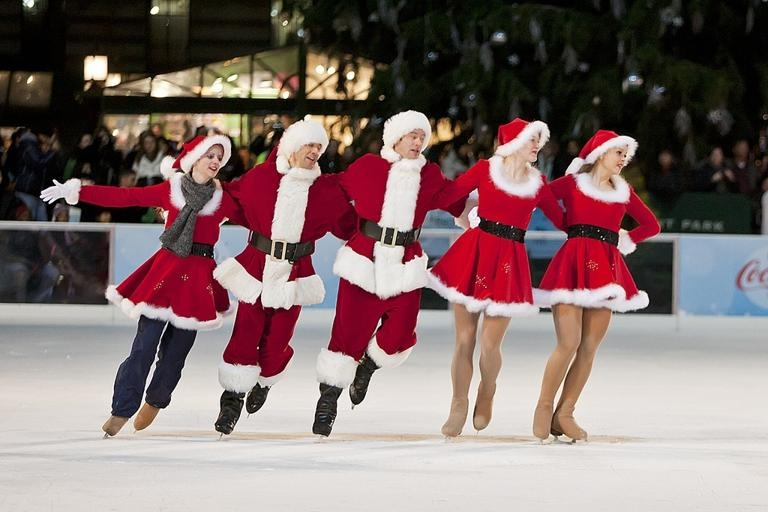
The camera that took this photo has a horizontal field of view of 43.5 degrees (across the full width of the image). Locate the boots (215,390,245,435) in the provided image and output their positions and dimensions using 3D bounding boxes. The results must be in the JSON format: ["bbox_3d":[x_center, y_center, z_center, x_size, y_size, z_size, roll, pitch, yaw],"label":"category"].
[{"bbox_3d":[-1.326,1.284,8.102,0.156,0.336,0.487,7,16,1],"label":"boots"}]

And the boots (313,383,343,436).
[{"bbox_3d":[-0.495,1.295,8.080,0.161,0.370,0.510,11,9,-2],"label":"boots"}]

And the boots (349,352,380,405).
[{"bbox_3d":[-0.192,1.065,8.485,0.164,0.509,0.344,21,-11,-29],"label":"boots"}]

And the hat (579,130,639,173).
[{"bbox_3d":[1.960,-0.931,8.388,0.379,0.260,0.315,-4,-5,26],"label":"hat"}]

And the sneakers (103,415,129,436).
[{"bbox_3d":[-2.272,1.379,8.042,0.206,0.184,0.246,-2,10,-18],"label":"sneakers"}]

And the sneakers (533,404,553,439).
[{"bbox_3d":[1.339,1.372,8.120,0.167,0.304,0.163,2,9,9],"label":"sneakers"}]

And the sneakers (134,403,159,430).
[{"bbox_3d":[-2.024,1.337,8.105,0.130,0.172,0.175,30,27,-9],"label":"sneakers"}]

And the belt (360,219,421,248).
[{"bbox_3d":[0.034,-0.212,8.223,0.513,0.226,0.192,1,10,-1],"label":"belt"}]

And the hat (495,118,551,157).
[{"bbox_3d":[1.195,-1.055,8.329,0.479,0.297,0.368,-12,-5,9],"label":"hat"}]

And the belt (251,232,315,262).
[{"bbox_3d":[-0.887,-0.093,8.197,0.548,0.252,0.224,-1,10,-9],"label":"belt"}]

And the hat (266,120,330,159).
[{"bbox_3d":[-0.695,-1.030,8.277,0.352,0.279,0.265,2,30,-40],"label":"hat"}]

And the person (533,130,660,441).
[{"bbox_3d":[1.759,0.220,8.263,1.223,2.562,0.692,-6,11,-36],"label":"person"}]
